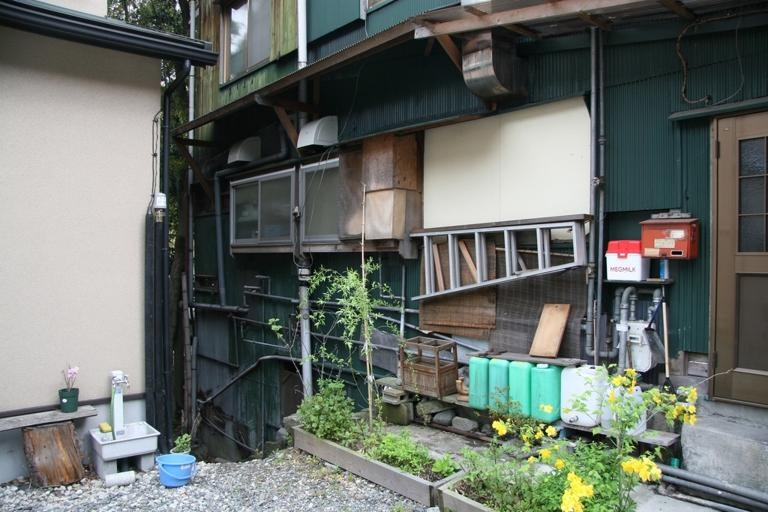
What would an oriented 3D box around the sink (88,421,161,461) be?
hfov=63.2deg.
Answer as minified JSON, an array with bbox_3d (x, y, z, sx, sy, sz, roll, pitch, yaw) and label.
[{"bbox_3d":[-3.725,2.711,9.033,0.909,0.432,0.650,-2,1,-25],"label":"sink"}]

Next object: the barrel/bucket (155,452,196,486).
[{"bbox_3d":[-2.851,2.927,8.569,0.419,0.313,0.414,4,-2,0],"label":"barrel/bucket"}]

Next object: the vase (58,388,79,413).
[{"bbox_3d":[-4.466,2.068,8.922,0.227,0.326,0.230,-2,1,-36],"label":"vase"}]

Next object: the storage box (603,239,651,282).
[{"bbox_3d":[3.098,0.053,8.000,0.487,0.547,0.487,0,0,36],"label":"storage box"}]

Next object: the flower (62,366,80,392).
[{"bbox_3d":[-4.509,1.779,9.064,0.228,0.307,0.242,-2,1,-28],"label":"flower"}]

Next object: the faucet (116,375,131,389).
[{"bbox_3d":[-3.820,1.888,9.245,0.160,0.090,0.231,2,5,-13],"label":"faucet"}]
